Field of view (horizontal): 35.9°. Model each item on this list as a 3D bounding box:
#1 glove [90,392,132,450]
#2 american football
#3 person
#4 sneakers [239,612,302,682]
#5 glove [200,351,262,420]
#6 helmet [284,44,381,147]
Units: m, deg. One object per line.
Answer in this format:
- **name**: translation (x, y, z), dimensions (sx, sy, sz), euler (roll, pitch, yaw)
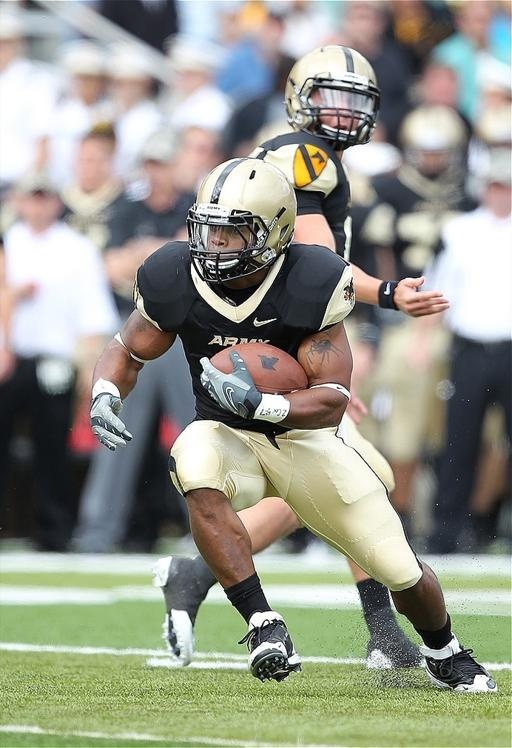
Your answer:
- **glove**: translation (-0.339, 0.114, 1.820), dimensions (0.077, 0.106, 0.161), euler (-8, 24, -14)
- **american football**: translation (0.005, -0.009, 1.716), dimensions (0.185, 0.099, 0.110), euler (15, 3, -1)
- **person**: translation (0.045, 0.040, 2.052), dimensions (0.899, 1.566, 1.529), euler (-4, 24, -5)
- **sneakers**: translation (0.030, 0.541, 1.526), dimensions (0.098, 0.146, 0.154), euler (-3, 24, -3)
- **glove**: translation (-0.027, 0.032, 1.674), dimensions (0.070, 0.146, 0.111), euler (-49, 21, -8)
- **helmet**: translation (0.237, -0.874, 2.515), dimensions (0.289, 0.267, 0.331), euler (4, 17, -18)
